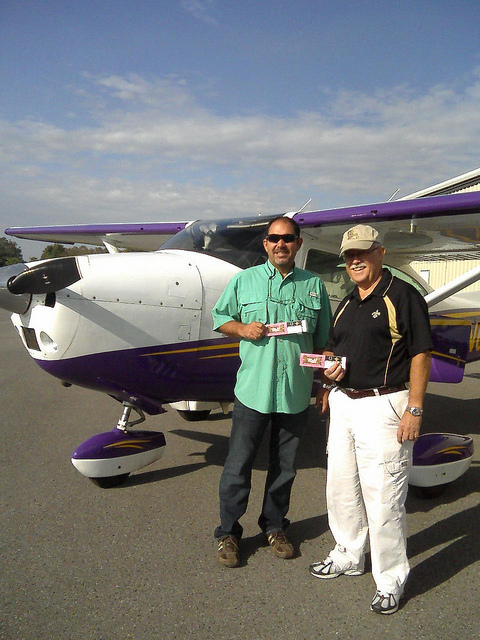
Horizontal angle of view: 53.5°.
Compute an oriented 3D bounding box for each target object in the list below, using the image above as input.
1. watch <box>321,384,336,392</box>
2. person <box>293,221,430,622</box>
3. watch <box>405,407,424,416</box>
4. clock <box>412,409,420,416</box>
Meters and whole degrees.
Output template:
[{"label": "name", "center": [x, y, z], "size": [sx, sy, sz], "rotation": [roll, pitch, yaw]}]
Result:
[{"label": "watch", "center": [0.441, 0.344, 2.425], "size": [0.035, 0.019, 0.046], "rotation": [3, 9, -36]}, {"label": "person", "center": [0.571, 0.422, 2.165], "size": [0.332, 1.684, 0.549], "rotation": [-6, 10, -43]}, {"label": "watch", "center": [0.719, 0.375, 1.962], "size": [0.042, 0.020, 0.041], "rotation": [2, 9, -35]}, {"label": "clock", "center": [0.708, 0.374, 1.929], "size": [0.028, 0.026, 0.009], "rotation": [-1, 7, -16]}]
